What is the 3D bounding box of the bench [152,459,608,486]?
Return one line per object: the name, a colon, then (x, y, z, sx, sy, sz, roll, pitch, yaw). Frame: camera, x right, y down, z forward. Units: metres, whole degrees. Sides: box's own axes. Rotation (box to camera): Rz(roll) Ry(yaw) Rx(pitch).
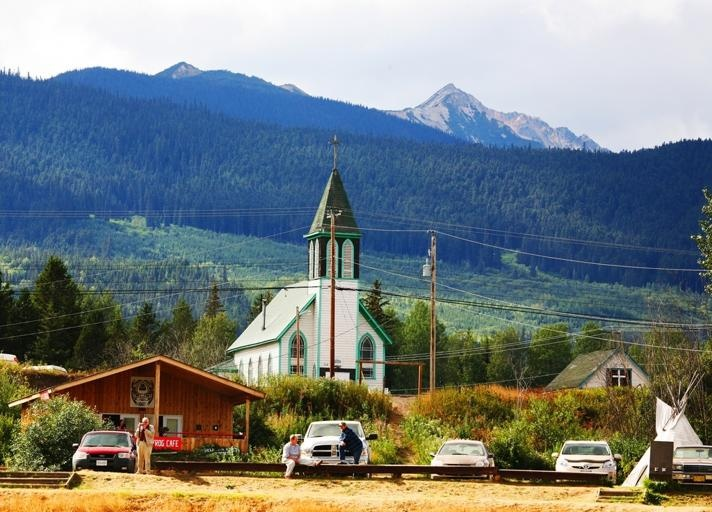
bench: (4.961, 29.711, 207.765, 60.292, 2.415, 2.691, 1, -6, 1)
